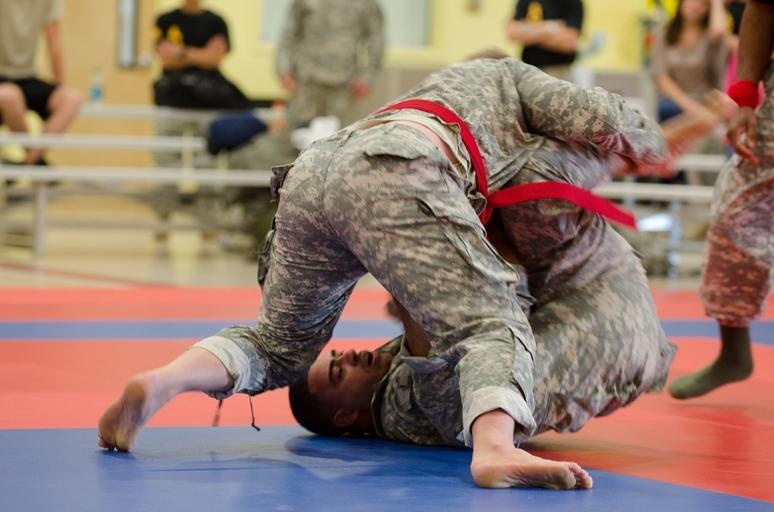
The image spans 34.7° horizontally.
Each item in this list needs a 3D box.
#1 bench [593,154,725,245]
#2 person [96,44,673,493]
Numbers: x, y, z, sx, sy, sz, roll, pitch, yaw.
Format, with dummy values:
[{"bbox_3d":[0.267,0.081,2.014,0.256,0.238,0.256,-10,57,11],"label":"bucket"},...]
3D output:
[{"bbox_3d":[1.757,-0.209,8.307,0.791,0.217,1.042,-17,9,9],"label":"bench"},{"bbox_3d":[0.151,0.000,4.657,1.582,1.066,2.050,5,15,41],"label":"person"}]
